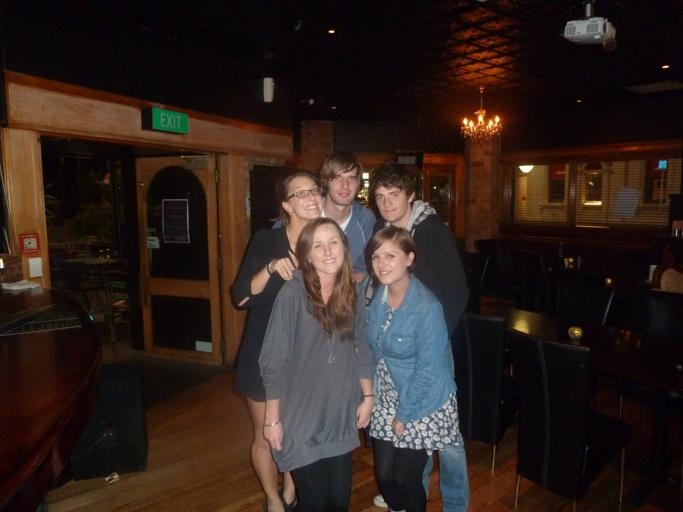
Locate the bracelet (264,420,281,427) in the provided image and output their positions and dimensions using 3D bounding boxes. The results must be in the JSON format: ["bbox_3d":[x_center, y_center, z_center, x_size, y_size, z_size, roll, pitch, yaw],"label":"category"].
[{"bbox_3d":[-0.391,0.932,2.983,0.078,0.032,0.027,-2,7,-15],"label":"bracelet"}]

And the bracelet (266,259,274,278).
[{"bbox_3d":[-0.415,0.060,3.108,0.025,0.070,0.058,-6,42,-9],"label":"bracelet"}]

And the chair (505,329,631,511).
[{"bbox_3d":[1.465,0.990,3.393,0.674,1.011,0.366,-2,7,-13],"label":"chair"}]

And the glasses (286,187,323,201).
[{"bbox_3d":[-0.238,-0.377,3.220,0.213,0.092,0.084,-2,7,-12],"label":"glasses"}]

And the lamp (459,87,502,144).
[{"bbox_3d":[2.459,-2.489,9.357,0.633,0.910,0.656,-2,8,0],"label":"lamp"}]
